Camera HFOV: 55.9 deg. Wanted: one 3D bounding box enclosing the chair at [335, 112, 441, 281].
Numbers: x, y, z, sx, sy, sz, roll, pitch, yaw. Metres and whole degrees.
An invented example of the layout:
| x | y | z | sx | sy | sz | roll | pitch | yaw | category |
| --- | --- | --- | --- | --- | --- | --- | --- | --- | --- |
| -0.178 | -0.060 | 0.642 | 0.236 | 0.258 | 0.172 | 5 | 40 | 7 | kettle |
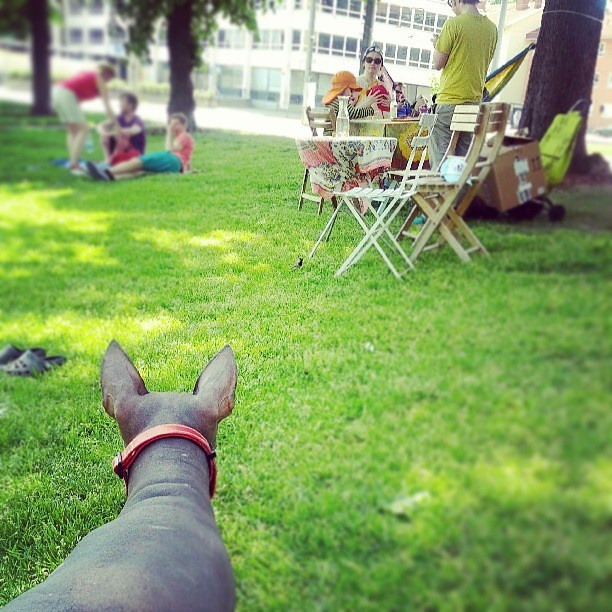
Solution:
| x | y | z | sx | sy | sz | roll | pitch | yaw | category |
| --- | --- | --- | --- | --- | --- | --- | --- | --- | --- |
| 0.562 | -0.836 | 3.952 | 0.538 | 0.966 | 1.498 | 8 | 20 | 10 | chair |

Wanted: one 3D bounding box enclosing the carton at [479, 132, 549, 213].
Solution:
| x | y | z | sx | sy | sz | roll | pitch | yaw | category |
| --- | --- | --- | --- | --- | --- | --- | --- | --- | --- |
| 1.557 | -1.015 | 4.430 | 0.342 | 0.796 | 0.476 | -13 | 24 | -13 | carton |

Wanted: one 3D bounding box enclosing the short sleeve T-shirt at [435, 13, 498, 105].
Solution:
| x | y | z | sx | sy | sz | roll | pitch | yaw | category |
| --- | --- | --- | --- | --- | --- | --- | --- | --- | --- |
| 1.041 | -1.613 | 3.740 | 0.357 | 0.496 | 0.240 | -20 | 41 | -20 | short sleeve T-shirt |

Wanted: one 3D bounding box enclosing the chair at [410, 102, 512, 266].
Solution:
| x | y | z | sx | sy | sz | roll | pitch | yaw | category |
| --- | --- | --- | --- | --- | --- | --- | --- | --- | --- |
| 1.110 | -0.854 | 4.053 | 0.556 | 1.267 | 0.732 | 1 | 28 | 4 | chair |

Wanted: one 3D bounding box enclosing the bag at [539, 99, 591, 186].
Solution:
| x | y | z | sx | sy | sz | roll | pitch | yaw | category |
| --- | --- | --- | --- | --- | --- | --- | --- | --- | --- |
| 1.679 | -1.057 | 3.678 | 0.091 | 0.207 | 0.433 | 15 | -10 | -1 | bag |
